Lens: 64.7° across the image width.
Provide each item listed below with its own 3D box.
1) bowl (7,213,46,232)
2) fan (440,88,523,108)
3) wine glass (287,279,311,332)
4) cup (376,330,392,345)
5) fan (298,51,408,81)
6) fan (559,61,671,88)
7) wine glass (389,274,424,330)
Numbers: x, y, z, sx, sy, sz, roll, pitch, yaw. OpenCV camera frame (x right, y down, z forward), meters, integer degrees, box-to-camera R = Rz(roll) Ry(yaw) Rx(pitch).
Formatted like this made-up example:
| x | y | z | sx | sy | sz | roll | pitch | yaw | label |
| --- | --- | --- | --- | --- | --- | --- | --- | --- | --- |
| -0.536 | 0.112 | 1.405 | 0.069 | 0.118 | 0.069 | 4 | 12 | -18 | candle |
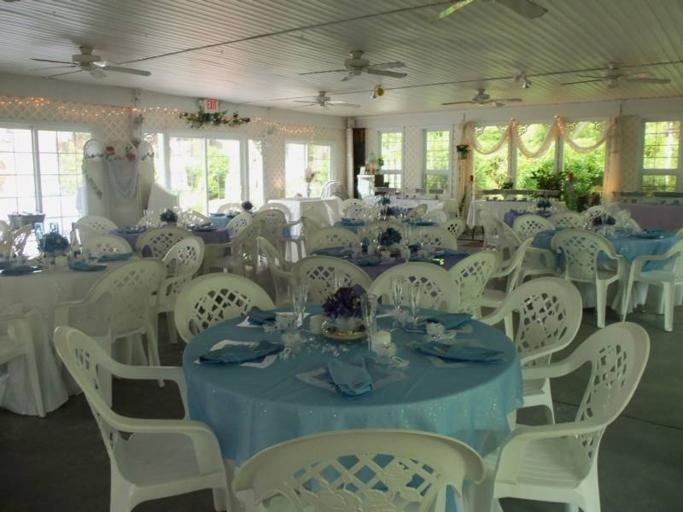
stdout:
| x | y | z | sx | sy | sz | roll | pitch | yaw | label |
| --- | --- | --- | --- | --- | --- | --- | --- | --- | --- |
| -3.759 | -0.391 | 6.448 | 0.470 | 0.181 | 0.449 | 0 | 2 | 0 | bowl |
| 2.666 | -3.015 | 10.312 | 0.901 | 0.185 | 0.922 | 3 | 13 | -1 | fan |
| -0.229 | 0.249 | 2.833 | 0.085 | 0.264 | 0.196 | -3 | 8 | -5 | wine glass |
| 0.194 | 0.389 | 2.574 | 0.064 | 0.043 | 0.062 | 0 | 6 | 0 | cup |
| 0.129 | -2.528 | 7.181 | 0.874 | 0.206 | 0.863 | -5 | 10 | -21 | fan |
| 4.116 | -2.750 | 8.193 | 0.739 | 0.116 | 0.848 | 4 | 7 | 44 | fan |
| 0.334 | 0.247 | 2.835 | 0.230 | 0.348 | 0.243 | 0 | 6 | 4 | wine glass |
